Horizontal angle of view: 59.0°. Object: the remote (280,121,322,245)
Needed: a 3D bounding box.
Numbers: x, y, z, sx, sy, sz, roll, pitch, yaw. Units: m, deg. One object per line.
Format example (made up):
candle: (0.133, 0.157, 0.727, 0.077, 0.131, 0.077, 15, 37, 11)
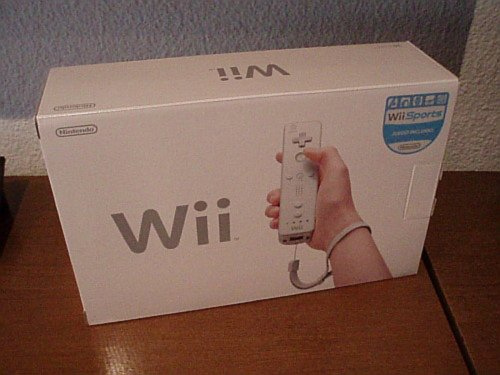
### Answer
remote: (0.081, -0.005, 0.700, 0.061, 0.194, 0.077, 2, 43, 10)
